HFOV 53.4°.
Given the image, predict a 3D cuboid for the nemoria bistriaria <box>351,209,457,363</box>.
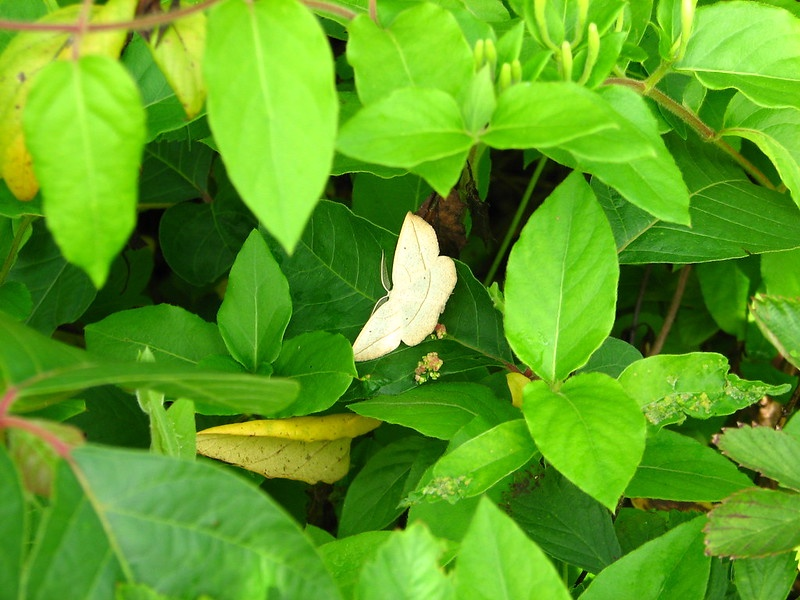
[{"bbox_3d":[-0.001,-0.013,0.762,0.121,0.119,0.047,-20,38,-14],"label":"nemoria bistriaria"}]
